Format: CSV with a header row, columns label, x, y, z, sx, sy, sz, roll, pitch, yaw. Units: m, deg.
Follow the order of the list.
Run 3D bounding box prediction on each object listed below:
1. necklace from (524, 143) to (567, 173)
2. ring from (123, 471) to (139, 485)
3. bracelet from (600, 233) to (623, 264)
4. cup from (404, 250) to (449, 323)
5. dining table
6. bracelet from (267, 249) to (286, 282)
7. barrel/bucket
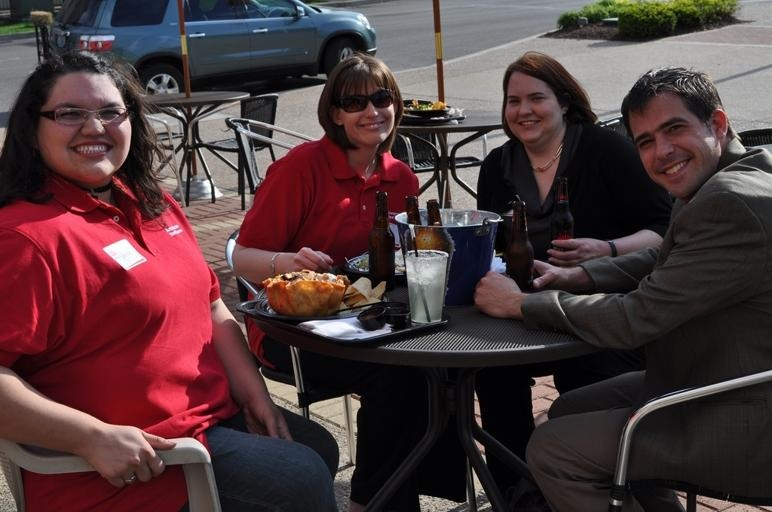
label,x,y,z,sx,sy,sz,roll,pitch,yaw
necklace,0.865,-0.546,3.213,0.042,0.150,0.156,31,-15,-6
ring,-0.741,0.647,1.734,0.039,0.022,0.048,-5,8,-2
bracelet,1.087,-0.046,2.862,0.056,0.082,0.087,-9,17,-11
cup,0.149,0.101,2.067,0.146,0.249,0.095,-3,8,-9
dining table,0.118,0.492,2.244,1.188,0.677,1.132,-1,10,-7
bracelet,-0.487,0.038,2.620,0.027,0.094,0.085,6,10,15
barrel/bucket,0.299,-0.016,2.365,0.419,0.339,0.373,0,13,15
